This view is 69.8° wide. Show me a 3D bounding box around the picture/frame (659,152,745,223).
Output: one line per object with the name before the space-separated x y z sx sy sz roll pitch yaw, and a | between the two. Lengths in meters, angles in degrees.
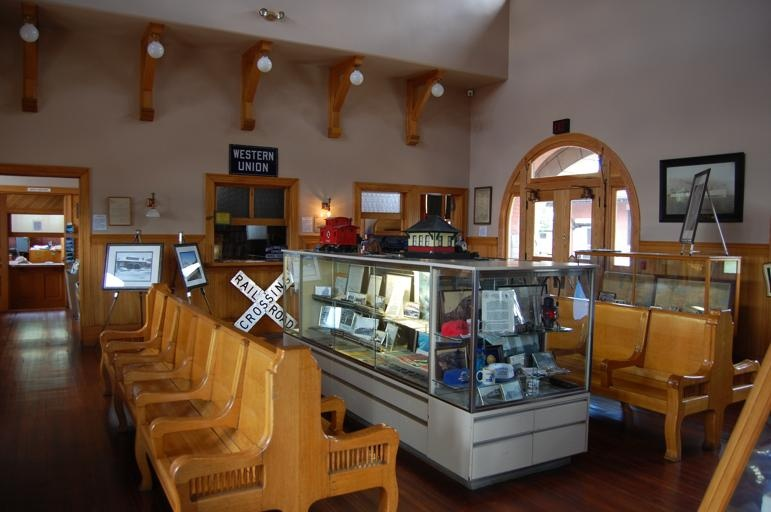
picture/frame | 4.508 -0.974 8.023 0.055 0.942 1.103 -11 10 -43

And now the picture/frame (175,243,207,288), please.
picture/frame | -3.091 0.150 8.715 0.087 0.842 0.607 -11 3 32

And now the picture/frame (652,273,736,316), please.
picture/frame | 4.069 0.459 7.190 0.504 0.473 0.836 -6 2 -37

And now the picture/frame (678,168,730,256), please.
picture/frame | 4.318 -0.615 7.493 0.578 1.188 1.202 2 5 31

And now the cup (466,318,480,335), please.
cup | 0.749 0.600 4.749 0.142 0.151 0.129 1 4 10

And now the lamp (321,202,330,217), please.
lamp | -1.070 -0.851 9.991 0.176 0.259 0.097 -2 4 -20

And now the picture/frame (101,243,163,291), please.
picture/frame | -3.809 0.160 8.341 0.691 0.706 0.049 2 -3 -16

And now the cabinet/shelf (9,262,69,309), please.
cabinet/shelf | -7.451 0.664 12.056 1.294 1.207 0.835 0 -1 -31

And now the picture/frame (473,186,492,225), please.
picture/frame | 1.937 -1.033 11.030 0.073 1.020 0.738 -1 4 -28

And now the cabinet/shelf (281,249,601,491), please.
cabinet/shelf | 0.647 0.851 6.755 1.286 1.982 3.980 -1 5 -20

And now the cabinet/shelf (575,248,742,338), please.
cabinet/shelf | 3.300 0.455 6.580 0.354 0.673 1.214 1 0 -34
